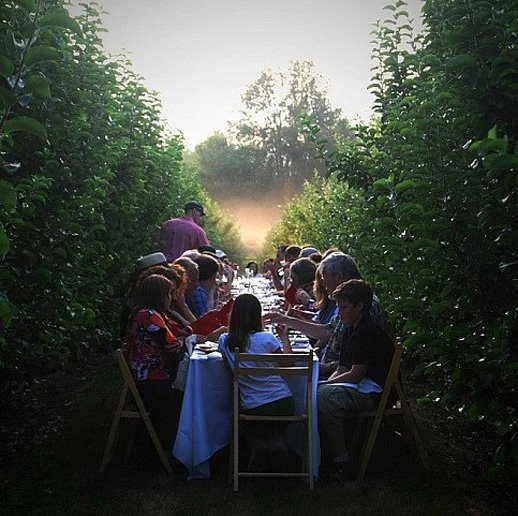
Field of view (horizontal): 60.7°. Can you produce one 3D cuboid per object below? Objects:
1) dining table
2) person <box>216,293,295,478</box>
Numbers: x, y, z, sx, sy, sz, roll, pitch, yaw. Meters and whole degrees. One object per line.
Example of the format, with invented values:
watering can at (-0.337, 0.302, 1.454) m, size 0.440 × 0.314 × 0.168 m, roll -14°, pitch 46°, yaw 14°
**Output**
dining table at (-0.009, 1.060, 3.509) m, size 0.866 × 0.666 × 1.263 m, roll -1°, pitch 1°, yaw 2°
person at (-0.026, 0.936, 3.325) m, size 0.510 × 1.305 × 0.604 m, roll -1°, pitch 1°, yaw -13°
